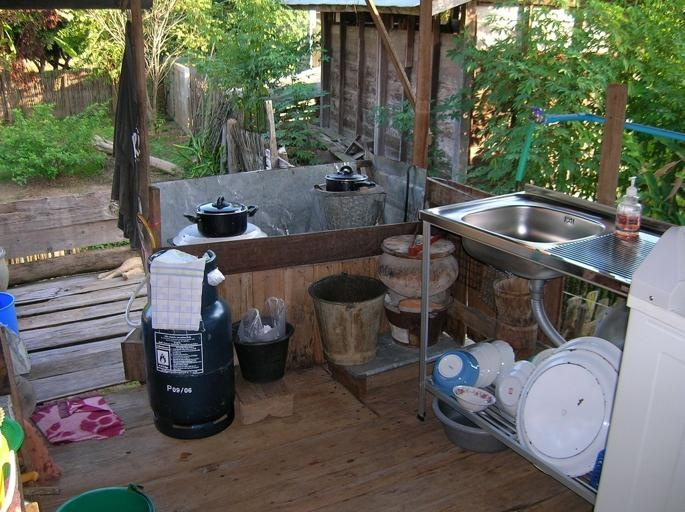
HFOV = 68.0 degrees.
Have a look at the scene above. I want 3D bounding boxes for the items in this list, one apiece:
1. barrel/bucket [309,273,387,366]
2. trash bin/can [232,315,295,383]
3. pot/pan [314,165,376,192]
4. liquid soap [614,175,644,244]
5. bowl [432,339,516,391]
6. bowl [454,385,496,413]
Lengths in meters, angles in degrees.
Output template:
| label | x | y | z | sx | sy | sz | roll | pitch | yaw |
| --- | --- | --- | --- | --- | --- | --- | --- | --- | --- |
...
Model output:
| label | x | y | z | sx | sy | sz | roll | pitch | yaw |
| --- | --- | --- | --- | --- | --- | --- | --- | --- | --- |
| barrel/bucket | 0.043 | 0.461 | 3.684 | 0.551 | 0.590 | 0.401 | -2 | 18 | 4 |
| trash bin/can | -0.529 | 0.659 | 3.480 | 0.363 | 0.267 | 0.354 | -16 | 25 | -42 |
| pot/pan | 0.028 | -0.685 | 4.571 | 0.360 | 0.178 | 0.319 | -2 | 20 | -5 |
| liquid soap | 1.437 | -0.264 | 2.532 | 0.115 | 0.311 | 0.318 | 7 | 21 | 30 |
| bowl | 0.763 | 0.501 | 2.960 | 0.485 | 0.340 | 0.314 | -6 | 11 | -19 |
| bowl | 0.734 | 0.787 | 2.829 | 0.144 | 0.058 | 0.143 | 3 | 16 | -1 |
